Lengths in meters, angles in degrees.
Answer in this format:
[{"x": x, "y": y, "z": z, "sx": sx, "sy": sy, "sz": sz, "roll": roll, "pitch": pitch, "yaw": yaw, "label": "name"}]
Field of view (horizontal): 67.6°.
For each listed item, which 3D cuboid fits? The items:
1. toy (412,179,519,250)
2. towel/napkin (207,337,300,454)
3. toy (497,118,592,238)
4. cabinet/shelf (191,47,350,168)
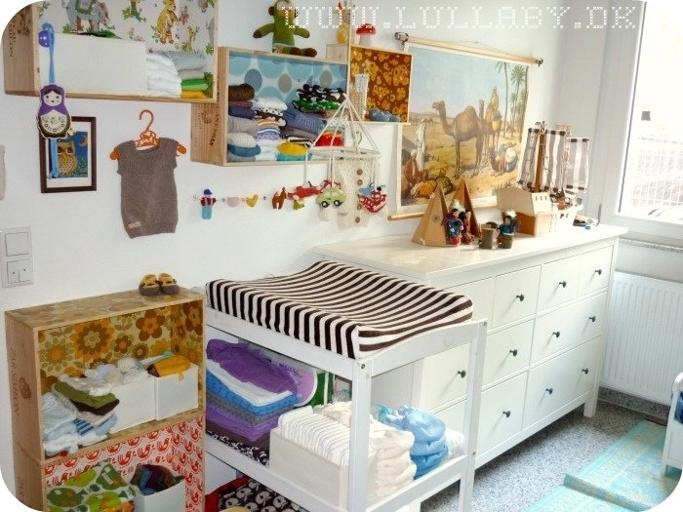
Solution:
[{"x": 0.687, "y": -0.178, "z": 2.884, "sx": 0.686, "sy": 0.484, "sz": 0.376, "roll": -5, "pitch": 8, "yaw": -34, "label": "toy"}, {"x": -0.407, "y": 0.558, "z": 2.112, "sx": 0.343, "sy": 0.129, "sz": 0.349, "roll": 14, "pitch": 21, "yaw": 37, "label": "towel/napkin"}, {"x": 1.230, "y": -0.496, "z": 3.392, "sx": 0.588, "sy": 0.811, "sz": 0.439, "roll": -14, "pitch": 21, "yaw": -42, "label": "toy"}, {"x": -0.315, "y": -0.665, "z": 2.311, "sx": 0.730, "sy": 0.460, "sz": 0.241, "roll": -12, "pitch": 19, "yaw": -43, "label": "cabinet/shelf"}]
